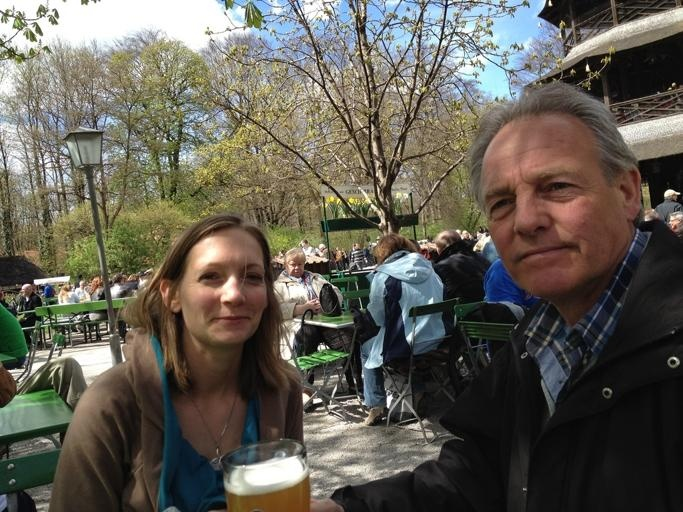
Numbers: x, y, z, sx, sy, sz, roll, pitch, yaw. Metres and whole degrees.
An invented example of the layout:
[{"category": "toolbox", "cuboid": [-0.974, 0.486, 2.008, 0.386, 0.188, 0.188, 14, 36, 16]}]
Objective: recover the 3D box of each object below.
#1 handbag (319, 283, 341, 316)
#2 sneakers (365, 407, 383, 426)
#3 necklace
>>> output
[{"category": "handbag", "cuboid": [-0.114, 0.595, 6.498, 0.292, 0.418, 0.412, -18, 12, -1]}, {"category": "sneakers", "cuboid": [0.382, 1.988, 5.612, 0.139, 0.121, 0.287, -12, -12, -28]}, {"category": "necklace", "cuboid": [-0.533, 0.707, 1.858, 0.255, 0.310, 0.028, 15, -37, -41]}]
